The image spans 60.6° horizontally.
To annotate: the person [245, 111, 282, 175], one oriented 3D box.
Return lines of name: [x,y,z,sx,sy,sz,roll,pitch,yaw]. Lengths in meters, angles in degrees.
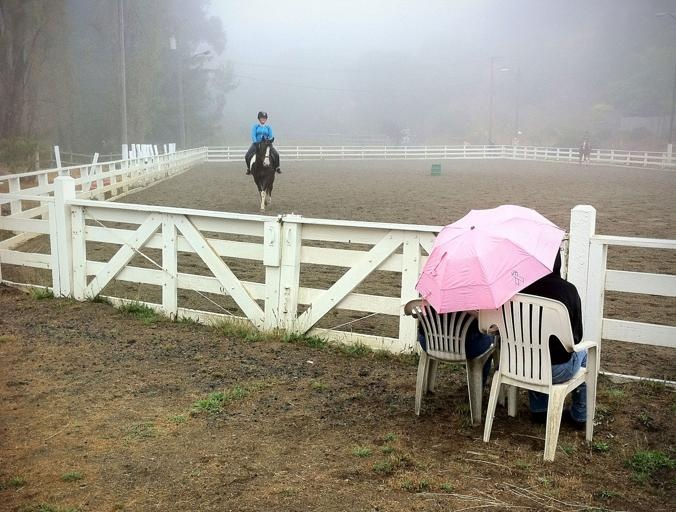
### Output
person: [-2.688,-3.896,20.047,1.120,2.205,1.184,-8,27,-20]

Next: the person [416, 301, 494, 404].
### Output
person: [1.116,0.924,5.539,0.605,0.941,0.691,7,37,28]

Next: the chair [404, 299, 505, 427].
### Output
chair: [1.119,0.954,5.703,0.846,1.371,0.947,2,10,22]

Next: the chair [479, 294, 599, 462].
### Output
chair: [1.814,0.978,5.257,0.914,1.518,0.892,5,14,35]

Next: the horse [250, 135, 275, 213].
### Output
horse: [-2.692,-2.790,20.540,0.827,2.518,3.696,-3,4,-12]
